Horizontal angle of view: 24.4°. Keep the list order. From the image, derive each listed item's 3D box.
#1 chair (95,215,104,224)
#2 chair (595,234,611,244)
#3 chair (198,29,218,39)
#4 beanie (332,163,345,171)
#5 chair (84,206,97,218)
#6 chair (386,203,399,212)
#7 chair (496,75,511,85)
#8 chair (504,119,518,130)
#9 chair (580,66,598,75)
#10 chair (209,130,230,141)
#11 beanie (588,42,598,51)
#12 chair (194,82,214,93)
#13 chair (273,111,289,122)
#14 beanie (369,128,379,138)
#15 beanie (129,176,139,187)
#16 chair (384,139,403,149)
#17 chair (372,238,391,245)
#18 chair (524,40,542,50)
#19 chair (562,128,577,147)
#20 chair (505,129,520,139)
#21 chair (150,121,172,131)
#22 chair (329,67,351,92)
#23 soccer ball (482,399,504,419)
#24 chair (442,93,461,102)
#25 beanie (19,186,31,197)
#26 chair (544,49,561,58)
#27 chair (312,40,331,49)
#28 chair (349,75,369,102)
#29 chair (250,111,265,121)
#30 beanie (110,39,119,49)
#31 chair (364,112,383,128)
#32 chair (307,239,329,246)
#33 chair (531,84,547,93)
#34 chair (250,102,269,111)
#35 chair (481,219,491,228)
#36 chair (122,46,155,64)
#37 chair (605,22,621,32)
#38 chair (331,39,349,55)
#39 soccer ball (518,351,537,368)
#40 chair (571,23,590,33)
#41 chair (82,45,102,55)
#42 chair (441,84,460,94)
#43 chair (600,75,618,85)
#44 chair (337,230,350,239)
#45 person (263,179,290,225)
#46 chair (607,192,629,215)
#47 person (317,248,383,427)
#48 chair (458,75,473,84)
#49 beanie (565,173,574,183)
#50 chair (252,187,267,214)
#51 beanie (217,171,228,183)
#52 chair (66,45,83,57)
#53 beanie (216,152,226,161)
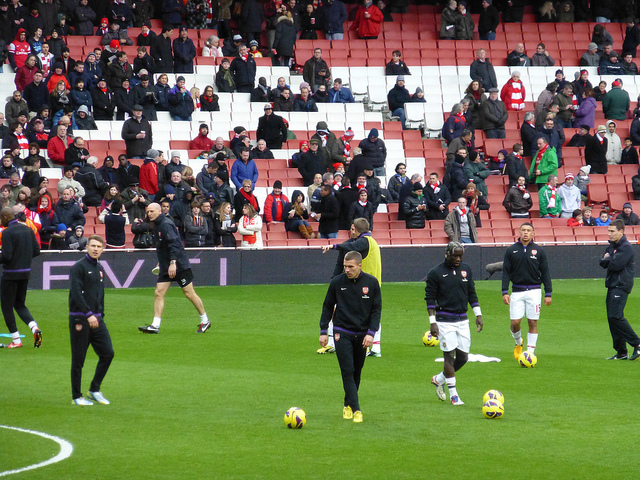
[{"bbox_3d":[-6.487,-0.565,43.144,0.219,0.327,0.530,-2,14,-13],"label":"chair"},{"bbox_3d":[8.774,-0.011,45.813,0.358,0.206,0.932,2,14,3],"label":"chair"},{"bbox_3d":[-3.945,-7.163,51.178,0.399,0.477,0.402,-2,8,-25],"label":"chair"},{"bbox_3d":[0.566,-2.234,45.090,0.256,0.098,0.188,-10,-3,44],"label":"beanie"},{"bbox_3d":[-6.774,-0.802,43.344,0.250,0.417,0.316,2,-5,-8],"label":"chair"},{"bbox_3d":[2.275,-1.000,46.262,0.291,0.235,0.232,1,7,-7],"label":"chair"},{"bbox_3d":[6.508,-5.704,52.579,0.666,0.334,0.160,5,9,29],"label":"chair"},{"bbox_3d":[6.544,-3.955,50.441,0.320,0.483,0.367,1,0,5],"label":"chair"},{"bbox_3d":[9.878,-6.160,53.578,0.394,0.458,0.416,0,3,-3],"label":"chair"},{"bbox_3d":[-3.237,-3.325,47.151,0.635,0.269,0.510,-1,14,-10],"label":"chair"},{"bbox_3d":[9.945,-7.024,53.644,0.309,0.306,0.595,3,14,10],"label":"beanie"},{"bbox_3d":[-3.831,-4.959,48.216,0.431,0.353,0.256,1,-5,-11],"label":"chair"},{"bbox_3d":[-1.249,-3.992,47.961,0.456,0.349,0.331,0,13,-6],"label":"chair"},{"bbox_3d":[1.665,-3.309,45.926,0.186,0.282,0.268,3,15,-3],"label":"beanie"},{"bbox_3d":[-5.351,-1.653,42.292,0.275,0.232,0.359,-1,14,-10],"label":"beanie"},{"bbox_3d":[2.446,-3.163,48.851,0.363,0.279,0.383,0,-3,0],"label":"chair"},{"bbox_3d":[1.929,0.057,45.080,0.363,0.209,0.186,-3,-10,-3],"label":"chair"},{"bbox_3d":[7.881,-7.283,55.036,0.831,0.309,0.413,-9,17,-35],"label":"chair"},{"bbox_3d":[8.423,-3.441,49.937,0.523,0.808,0.602,0,-1,2],"label":"chair"},{"bbox_3d":[6.522,-3.570,49.954,0.462,0.252,0.732,2,14,5],"label":"chair"},{"bbox_3d":[-5.024,-3.592,46.570,0.651,0.301,0.252,-1,13,-9],"label":"chair"},{"bbox_3d":[0.844,-5.573,51.166,0.700,1.164,0.759,-1,2,-10],"label":"chair"},{"bbox_3d":[3.589,3.516,30.581,0.334,0.415,0.386,-3,-1,-5],"label":"soccer ball"},{"bbox_3d":[4.529,-4.930,51.290,0.398,0.304,0.159,-3,10,-20],"label":"chair"},{"bbox_3d":[-8.050,-1.307,40.186,0.190,0.252,0.270,20,2,16],"label":"beanie"},{"bbox_3d":[8.651,-6.898,54.656,0.563,0.268,0.484,0,14,-4],"label":"chair"},{"bbox_3d":[0.053,-6.886,52.032,0.843,0.298,0.418,-10,18,-38],"label":"chair"},{"bbox_3d":[1.345,-5.224,50.857,0.650,1.026,0.773,-1,1,-5],"label":"chair"},{"bbox_3d":[-2.069,-4.040,48.197,0.493,0.275,0.438,-4,15,-21],"label":"chair"},{"bbox_3d":[-6.393,-6.066,45.704,0.206,0.290,0.286,-3,-10,-26],"label":"beanie"},{"bbox_3d":[1.775,-4.057,49.774,0.365,0.604,0.456,1,1,-9],"label":"chair"},{"bbox_3d":[-0.065,0.088,43.679,0.633,0.162,0.256,0,14,-3],"label":"chair"},{"bbox_3d":[7.793,-5.374,52.455,0.594,0.265,0.393,-1,14,-10],"label":"chair"},{"bbox_3d":[-2.103,-4.364,48.421,0.433,0.275,0.255,-2,13,-13],"label":"chair"},{"bbox_3d":[5.269,-0.495,46.696,0.273,0.318,0.228,-2,-28,0],"label":"chair"},{"bbox_3d":[-5.792,-5.852,46.922,0.806,0.647,0.501,0,-5,-10],"label":"chair"},{"bbox_3d":[10.957,-7.990,55.189,0.365,0.562,0.427,0,3,-3],"label":"chair"},{"bbox_3d":[0.678,-6.839,52.397,0.459,0.721,0.547,0,-4,1],"label":"chair"},{"bbox_3d":[4.719,2.724,33.578,0.269,0.339,0.372,3,-2,16],"label":"soccer ball"},{"bbox_3d":[9.840,-7.996,55.651,0.527,0.385,0.399,0,-27,5],"label":"chair"},{"bbox_3d":[-7.329,-6.055,47.236,0.566,0.457,0.315,1,-4,-14],"label":"chair"},{"bbox_3d":[4.559,-5.271,51.661,0.830,0.257,0.382,-8,16,-32],"label":"chair"},{"bbox_3d":[10.242,-5.663,52.304,0.469,0.387,0.299,0,-14,1],"label":"chair"},{"bbox_3d":[0.689,-0.178,44.268,0.254,0.300,0.251,0,-1,-1],"label":"chair"},{"bbox_3d":[-1.341,-1.077,44.599,0.927,1.648,0.844,-5,17,-21],"label":"person"},{"bbox_3d":[9.693,-1.178,47.990,0.585,0.951,0.713,1,-2,-3],"label":"chair"},{"bbox_3d":[0.621,2.005,30.475,1.206,3.385,0.903,1,12,2],"label":"person"},{"bbox_3d":[5.108,-5.671,52.230,0.446,0.270,0.573,2,14,5],"label":"chair"},{"bbox_3d":[7.890,-1.959,46.539,0.203,0.248,0.283,1,-1,-1],"label":"beanie"},{"bbox_3d":[-1.863,-1.251,45.636,0.407,0.605,0.837,0,14,-2],"label":"chair"},{"bbox_3d":[-2.873,-1.825,43.244,0.163,0.375,0.559,6,15,23],"label":"beanie"},{"bbox_3d":[-8.068,-6.201,48.483,0.468,0.371,0.401,-2,14,-14],"label":"chair"},{"bbox_3d":[-2.921,-2.439,43.290,0.169,0.261,0.234,6,-2,29],"label":"beanie"}]
